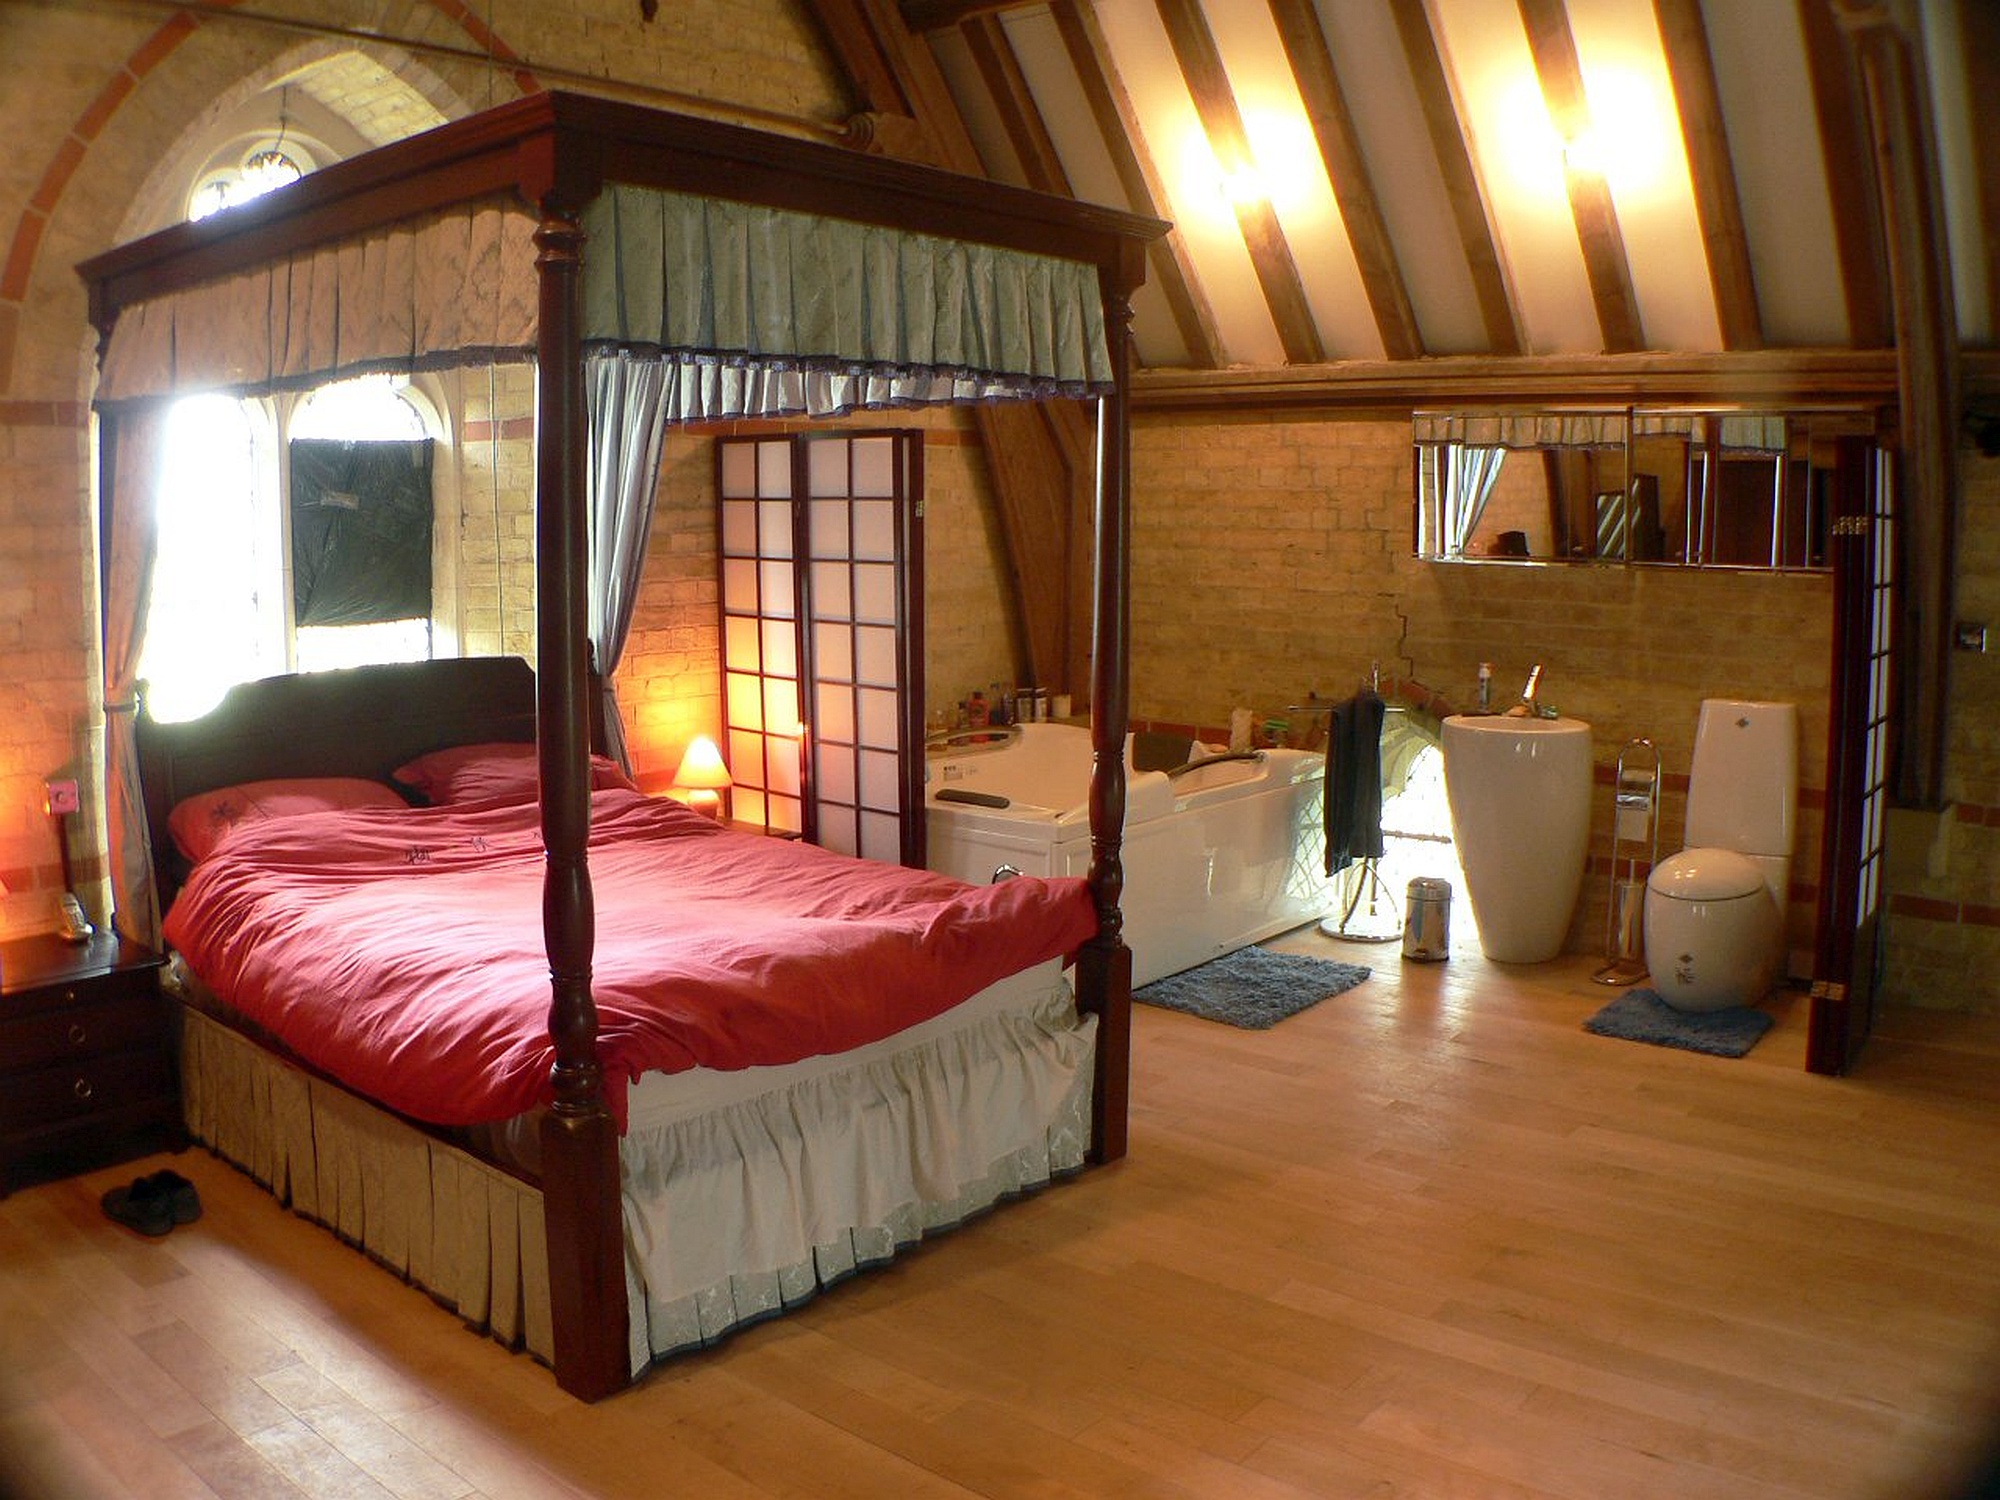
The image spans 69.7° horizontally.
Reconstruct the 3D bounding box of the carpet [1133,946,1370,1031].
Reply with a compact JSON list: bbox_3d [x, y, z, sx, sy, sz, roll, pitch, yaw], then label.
[{"bbox_3d":[1.161,1.061,6.524,0.698,0.044,1.076,10,15,42],"label":"carpet"}]

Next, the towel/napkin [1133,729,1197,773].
[{"bbox_3d":[0.890,-0.012,7.854,0.256,0.165,0.261,2,7,33],"label":"towel/napkin"}]

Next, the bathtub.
[{"bbox_3d":[0.510,0.437,6.893,1.131,0.732,1.644,6,11,39],"label":"bathtub"}]

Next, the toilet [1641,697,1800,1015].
[{"bbox_3d":[3.168,0.455,6.289,0.514,1.279,0.727,7,13,34],"label":"toilet"}]

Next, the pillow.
[{"bbox_3d":[-2.507,0.162,5.630,1.045,0.353,0.635,-7,16,-35],"label":"pillow"}]

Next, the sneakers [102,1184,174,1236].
[{"bbox_3d":[-2.711,1.427,4.513,0.222,0.092,0.122,7,9,44],"label":"sneakers"}]

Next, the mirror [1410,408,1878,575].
[{"bbox_3d":[2.864,-1.195,6.508,1.652,0.700,0.340,5,12,26],"label":"mirror"}]

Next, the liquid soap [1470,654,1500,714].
[{"bbox_3d":[2.357,-0.299,6.974,0.137,0.240,0.401,3,12,18],"label":"liquid soap"}]

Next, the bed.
[{"bbox_3d":[-1.510,0.573,5.274,3.213,1.632,2.311,8,11,39],"label":"bed"}]

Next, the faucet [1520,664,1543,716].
[{"bbox_3d":[2.548,-0.295,6.863,0.046,0.117,0.271,18,55,19],"label":"faucet"}]

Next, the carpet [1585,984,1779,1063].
[{"bbox_3d":[2.908,1.140,6.105,0.673,0.050,0.713,7,14,33],"label":"carpet"}]
